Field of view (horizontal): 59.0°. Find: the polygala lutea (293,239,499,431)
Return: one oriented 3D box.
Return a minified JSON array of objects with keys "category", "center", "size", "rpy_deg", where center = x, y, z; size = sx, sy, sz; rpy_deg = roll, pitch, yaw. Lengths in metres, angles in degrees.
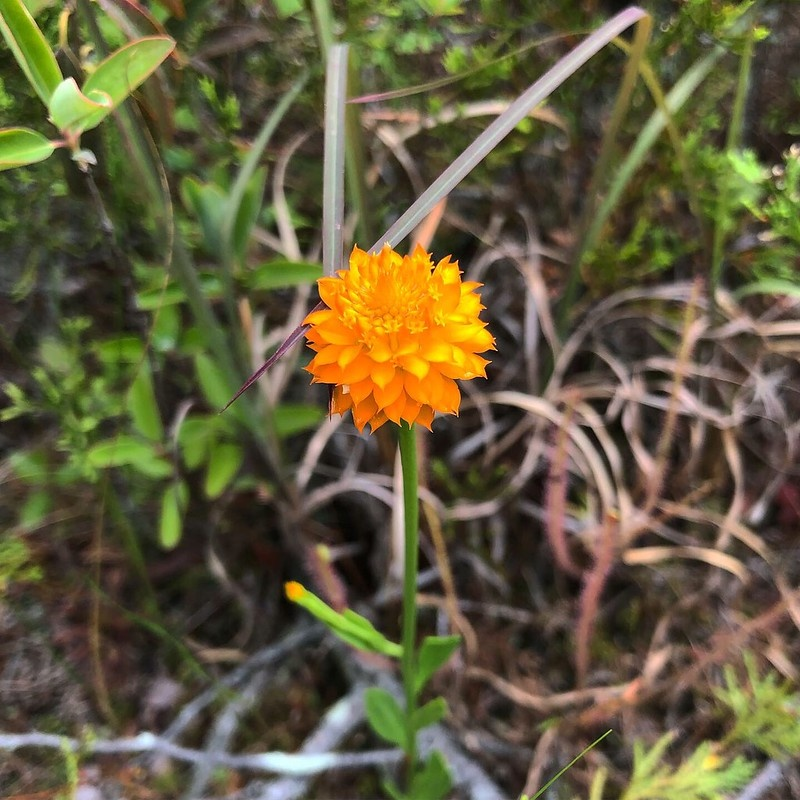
[{"category":"polygala lutea","center":[-0.003,-0.044,0.578],"size":[0.149,0.124,0.162],"rpy_deg":[1,50,-9]}]
